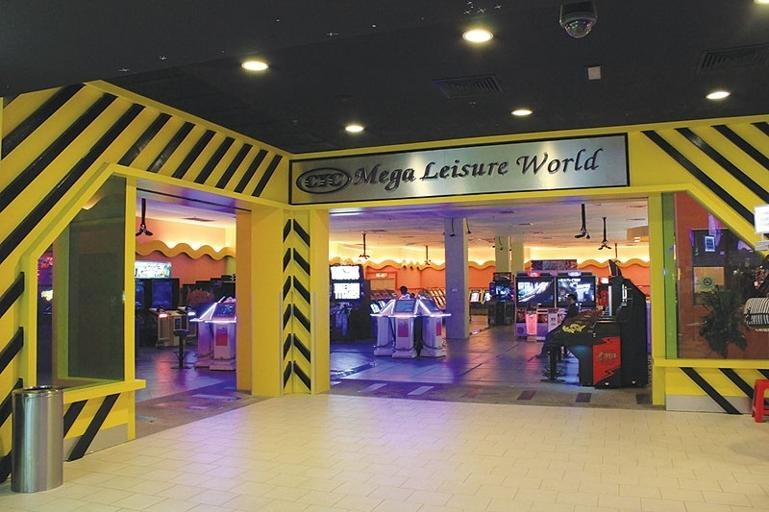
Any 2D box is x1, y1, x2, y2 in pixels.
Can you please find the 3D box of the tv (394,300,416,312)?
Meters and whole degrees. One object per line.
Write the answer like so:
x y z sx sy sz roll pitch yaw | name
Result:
0.475 1.186 13.841 0.486 0.288 0.423 0 0 0 | tv

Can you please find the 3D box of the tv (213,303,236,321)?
-3.350 1.154 12.266 0.396 0.408 0.098 1 -41 3 | tv

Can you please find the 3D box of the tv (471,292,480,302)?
4.911 2.205 31.389 0.473 0.450 0.546 0 0 5 | tv

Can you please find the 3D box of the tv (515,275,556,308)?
4.609 1.114 17.653 0.995 0.918 0.507 2 3 16 | tv

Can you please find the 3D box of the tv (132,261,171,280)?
-7.059 0.433 18.020 0.422 0.536 1.491 -1 0 14 | tv

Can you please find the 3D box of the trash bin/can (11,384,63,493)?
-3.491 1.875 5.903 0.417 0.951 0.461 -10 -12 24 | trash bin/can
